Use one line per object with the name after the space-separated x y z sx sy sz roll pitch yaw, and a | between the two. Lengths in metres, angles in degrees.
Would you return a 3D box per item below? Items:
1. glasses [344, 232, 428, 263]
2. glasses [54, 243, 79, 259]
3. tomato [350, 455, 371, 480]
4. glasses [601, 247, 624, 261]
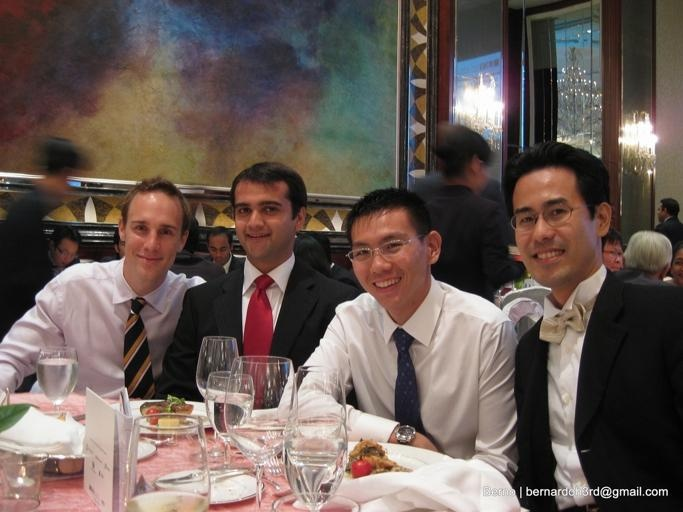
0.152 -0.031 2.025 0.290 0.106 0.153 3 4 14 | glasses
-2.082 -0.041 4.191 0.116 0.058 0.091 -12 -11 36 | glasses
0.050 0.547 1.419 0.038 0.042 0.039 -1 -5 2 | tomato
2.017 -0.016 4.116 0.106 0.069 0.147 2 -23 9 | glasses
